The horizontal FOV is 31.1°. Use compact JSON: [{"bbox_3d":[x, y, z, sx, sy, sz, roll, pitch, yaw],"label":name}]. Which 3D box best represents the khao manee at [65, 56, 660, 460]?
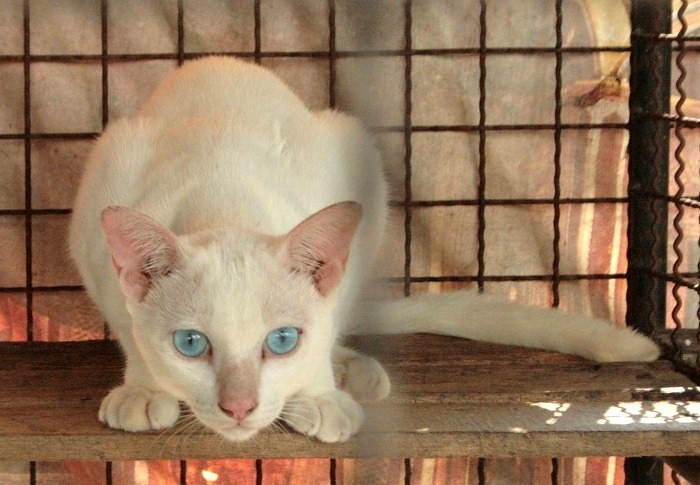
[{"bbox_3d":[-0.412,-0.008,4.478,1.114,1.349,0.725,2,1,-9],"label":"khao manee"}]
